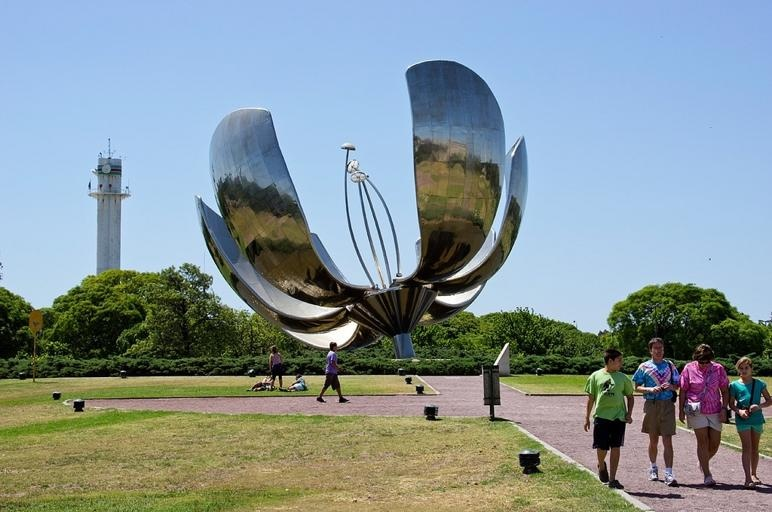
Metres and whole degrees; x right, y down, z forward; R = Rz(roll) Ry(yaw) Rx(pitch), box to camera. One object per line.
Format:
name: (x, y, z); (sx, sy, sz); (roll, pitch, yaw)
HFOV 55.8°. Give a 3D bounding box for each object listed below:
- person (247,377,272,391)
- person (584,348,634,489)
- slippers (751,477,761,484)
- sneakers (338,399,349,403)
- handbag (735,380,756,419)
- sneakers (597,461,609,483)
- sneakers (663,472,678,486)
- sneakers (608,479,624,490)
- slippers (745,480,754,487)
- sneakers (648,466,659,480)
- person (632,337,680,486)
person: (-4.694, 4.770, 26.694); (0.719, 0.576, 0.308); (-29, -23, 29)
person: (3.801, 2.710, 12.436); (0.780, 2.230, 0.733); (0, -1, 17)
slippers: (6.206, 3.755, 12.224); (0.153, 0.045, 0.152); (3, -3, 12)
sneakers: (-1.342, 4.543, 22.882); (0.291, 0.196, 0.114); (-5, 10, -24)
handbag: (6.252, 2.506, 12.699); (0.149, 0.616, 0.322); (15, -10, -15)
sneakers: (3.696, 3.657, 12.385); (0.156, 0.384, 0.155); (-7, -8, 8)
sneakers: (4.852, 3.815, 12.406); (0.131, 0.145, 0.318); (-1, -20, 8)
sneakers: (3.827, 3.771, 12.089); (0.227, 0.092, 0.116); (1, 4, -35)
slippers: (6.078, 3.802, 12.145); (0.146, 0.108, 0.096); (0, -1, 26)
sneakers: (4.698, 3.751, 12.770); (0.164, 0.262, 0.490); (0, -1, 20)
person: (4.732, 2.659, 12.773); (0.767, 2.450, 0.854); (0, -1, 21)
